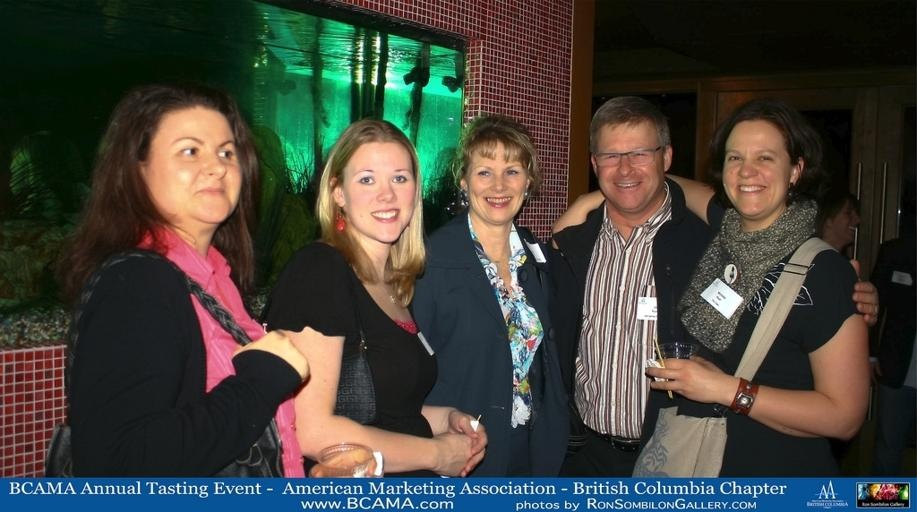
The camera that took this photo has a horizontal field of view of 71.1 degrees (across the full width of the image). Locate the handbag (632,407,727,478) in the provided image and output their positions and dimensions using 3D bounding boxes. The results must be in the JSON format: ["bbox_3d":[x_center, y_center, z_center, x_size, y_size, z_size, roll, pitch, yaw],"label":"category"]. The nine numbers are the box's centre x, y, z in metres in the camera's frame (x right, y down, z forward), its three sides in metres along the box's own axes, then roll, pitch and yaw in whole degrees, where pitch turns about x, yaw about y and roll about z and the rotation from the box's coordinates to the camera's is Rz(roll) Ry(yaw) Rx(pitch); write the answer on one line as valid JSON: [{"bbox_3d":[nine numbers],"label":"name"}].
[{"bbox_3d":[1.346,1.101,3.794,0.205,0.450,0.529,26,-13,-39],"label":"handbag"}]

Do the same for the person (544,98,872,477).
[{"bbox_3d":[1.709,0.148,3.959,1.476,2.216,1.154,8,11,41],"label":"person"}]

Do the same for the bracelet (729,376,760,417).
[{"bbox_3d":[1.659,0.798,3.762,0.157,0.205,0.209,30,13,12],"label":"bracelet"}]

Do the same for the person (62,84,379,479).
[{"bbox_3d":[-1.403,0.104,3.180,1.016,1.919,0.817,-4,10,-29],"label":"person"}]
